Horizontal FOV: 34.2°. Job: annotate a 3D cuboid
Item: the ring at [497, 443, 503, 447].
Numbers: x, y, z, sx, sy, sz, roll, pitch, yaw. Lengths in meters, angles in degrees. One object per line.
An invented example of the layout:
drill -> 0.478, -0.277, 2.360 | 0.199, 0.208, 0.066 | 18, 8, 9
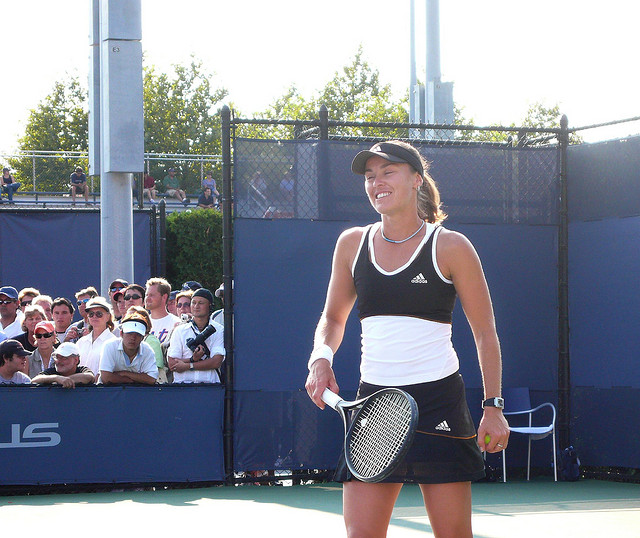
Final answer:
ring -> 1.155, 1.134, 6.703 | 0.038, 0.019, 0.005 | -2, 2, -23

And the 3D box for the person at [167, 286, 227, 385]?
person -> -1.304, 0.697, 10.855 | 0.569, 0.944, 0.337 | -2, 2, -14

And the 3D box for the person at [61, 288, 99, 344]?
person -> -2.798, 0.568, 12.171 | 0.245, 0.372, 0.906 | 7, 25, -8

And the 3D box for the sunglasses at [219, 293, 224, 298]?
sunglasses -> -1.084, 0.292, 11.357 | 0.052, 0.074, 0.096 | 2, -7, -20

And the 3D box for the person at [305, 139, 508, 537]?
person -> 0.572, 0.446, 6.859 | 1.252, 2.551, 0.476 | -1, 2, -2

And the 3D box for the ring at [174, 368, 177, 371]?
ring -> -1.492, 1.037, 10.724 | 0.014, 0.028, 0.019 | -1, 2, 2

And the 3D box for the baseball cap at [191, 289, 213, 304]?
baseball cap -> -1.233, 0.269, 10.990 | 0.142, 0.098, 0.141 | 18, -7, -39

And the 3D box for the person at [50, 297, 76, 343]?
person -> -2.913, 0.572, 11.808 | 0.250, 0.458, 0.874 | -2, 2, -15

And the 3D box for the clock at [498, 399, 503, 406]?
clock -> 1.169, 0.871, 6.786 | 0.040, 0.048, 0.006 | 2, -6, -12

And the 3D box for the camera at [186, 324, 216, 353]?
camera -> -1.228, 0.720, 10.770 | 0.298, 0.258, 0.152 | -1, 2, -8

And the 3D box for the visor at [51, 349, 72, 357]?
visor -> -2.548, 0.835, 10.310 | 0.089, 0.056, 0.155 | 4, -21, 31

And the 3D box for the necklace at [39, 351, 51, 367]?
necklace -> -2.826, 0.932, 10.720 | 0.146, 0.164, 0.036 | 1, 0, -1

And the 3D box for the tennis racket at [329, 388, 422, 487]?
tennis racket -> 0.317, 1.044, 6.623 | 0.205, 0.568, 0.646 | -3, 3, -45

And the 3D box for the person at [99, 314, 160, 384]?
person -> -1.979, 0.833, 10.557 | 0.516, 0.770, 0.648 | 0, -4, -16

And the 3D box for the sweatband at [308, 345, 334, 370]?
sweatband -> 0.003, 0.612, 6.988 | 0.144, 0.133, 0.154 | -1, 8, -13

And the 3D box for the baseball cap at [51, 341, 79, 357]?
baseball cap -> -2.499, 0.799, 10.353 | 0.135, 0.113, 0.196 | -6, -18, 30

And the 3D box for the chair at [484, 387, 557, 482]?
chair -> 2.183, 1.738, 10.824 | 0.650, 0.977, 0.582 | -1, 2, -6

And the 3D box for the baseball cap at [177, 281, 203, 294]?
baseball cap -> -1.725, 0.213, 13.920 | 0.273, 0.174, 0.202 | 3, -9, -8
